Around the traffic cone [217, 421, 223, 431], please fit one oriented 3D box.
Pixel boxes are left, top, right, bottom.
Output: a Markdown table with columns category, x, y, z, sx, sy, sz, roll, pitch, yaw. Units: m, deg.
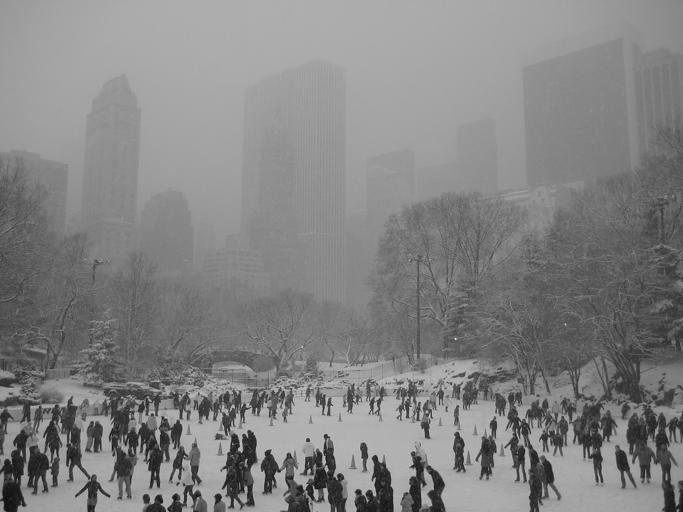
| category | x | y | z | sx | sy | sz | roll | pitch | yaw |
| --- | --- | --- | --- | --- | --- | --- | --- | --- | --- |
| traffic cone | -8.263 | 11.375 | 74.589 | 0.425 | 0.490 | 0.448 | 1 | -15 | -5 |

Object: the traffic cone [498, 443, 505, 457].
| category | x | y | z | sx | sy | sz | roll | pitch | yaw |
| --- | --- | --- | --- | --- | --- | --- | --- | --- | --- |
| traffic cone | 10.185 | 12.118 | 69.459 | 0.525 | 0.805 | 0.548 | -3 | -12 | 9 |

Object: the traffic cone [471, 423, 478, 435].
| category | x | y | z | sx | sy | sz | roll | pitch | yaw |
| --- | --- | --- | --- | --- | --- | --- | --- | --- | --- |
| traffic cone | 8.773 | 11.518 | 73.510 | 0.451 | 0.534 | 0.456 | -4 | -2 | 18 |

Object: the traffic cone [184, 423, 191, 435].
| category | x | y | z | sx | sy | sz | roll | pitch | yaw |
| --- | --- | --- | --- | --- | --- | --- | --- | --- | --- |
| traffic cone | -10.098 | 11.415 | 73.082 | 0.478 | 0.560 | 0.496 | 4 | -10 | -19 |

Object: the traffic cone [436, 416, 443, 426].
| category | x | y | z | sx | sy | sz | roll | pitch | yaw |
| --- | --- | --- | --- | --- | --- | --- | --- | --- | --- |
| traffic cone | 6.711 | 11.284 | 75.724 | 0.437 | 0.602 | 0.389 | -12 | -9 | 32 |

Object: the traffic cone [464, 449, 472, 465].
| category | x | y | z | sx | sy | sz | roll | pitch | yaw |
| --- | --- | --- | --- | --- | --- | --- | --- | --- | --- |
| traffic cone | 7.824 | 12.362 | 68.544 | 0.643 | 0.922 | 0.663 | 0 | 6 | 13 |

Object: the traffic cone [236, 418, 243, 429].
| category | x | y | z | sx | sy | sz | roll | pitch | yaw |
| --- | --- | --- | --- | --- | --- | --- | --- | --- | --- |
| traffic cone | -6.962 | 11.362 | 75.292 | 0.504 | 0.795 | 0.463 | -2 | -8 | -6 |

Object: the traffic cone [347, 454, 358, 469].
| category | x | y | z | sx | sy | sz | roll | pitch | yaw |
| --- | --- | --- | --- | --- | --- | --- | --- | --- | --- |
| traffic cone | 0.662 | 12.558 | 67.740 | 0.672 | 0.959 | 0.722 | 1 | -14 | -1 |

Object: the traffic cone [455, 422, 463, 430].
| category | x | y | z | sx | sy | sz | roll | pitch | yaw |
| --- | --- | --- | --- | --- | --- | --- | --- | --- | --- |
| traffic cone | 7.930 | 11.399 | 74.677 | 0.383 | 0.457 | 0.402 | -2 | -15 | -5 |

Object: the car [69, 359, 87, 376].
| category | x | y | z | sx | sy | sz | roll | pitch | yaw |
| --- | --- | --- | --- | --- | --- | --- | --- | --- | --- |
| car | -21.523 | 8.986 | 89.931 | 1.347 | 0.697 | 1.842 | -8 | 9 | -6 |
